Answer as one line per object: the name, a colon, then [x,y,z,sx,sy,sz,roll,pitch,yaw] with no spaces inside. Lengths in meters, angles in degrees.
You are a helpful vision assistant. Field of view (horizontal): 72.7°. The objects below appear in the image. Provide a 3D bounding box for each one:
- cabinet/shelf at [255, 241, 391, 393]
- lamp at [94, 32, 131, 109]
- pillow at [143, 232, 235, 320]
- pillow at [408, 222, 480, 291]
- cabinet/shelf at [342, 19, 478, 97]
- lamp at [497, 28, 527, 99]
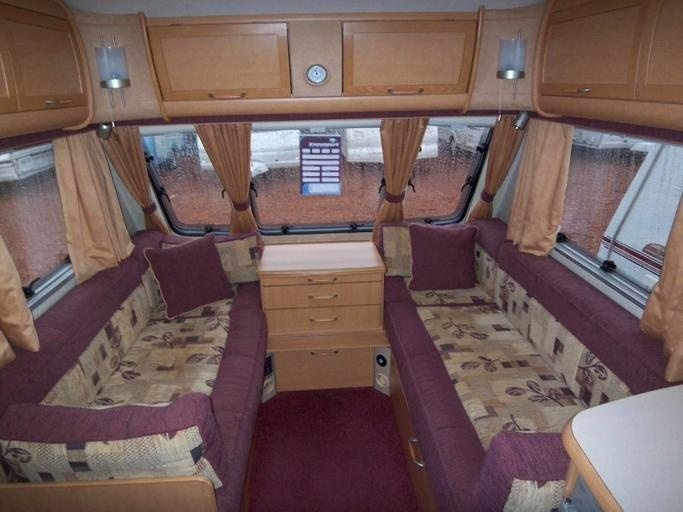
cabinet/shelf: [-0.040,0.625,4.020,1.146,0.957,0.825,-5,5,22]
lamp: [-1.316,-1.062,2.675,0.178,0.388,0.157,-4,16,-9]
pillow: [-1.207,0.165,3.687,0.717,0.607,0.211,-24,8,-30]
pillow: [0.864,0.014,3.969,0.676,0.565,0.215,0,9,0]
cabinet/shelf: [0.386,-1.155,2.890,0.828,0.370,0.393,-1,46,-1]
lamp: [1.018,-1.138,2.768,0.212,0.405,0.131,-5,26,-7]
